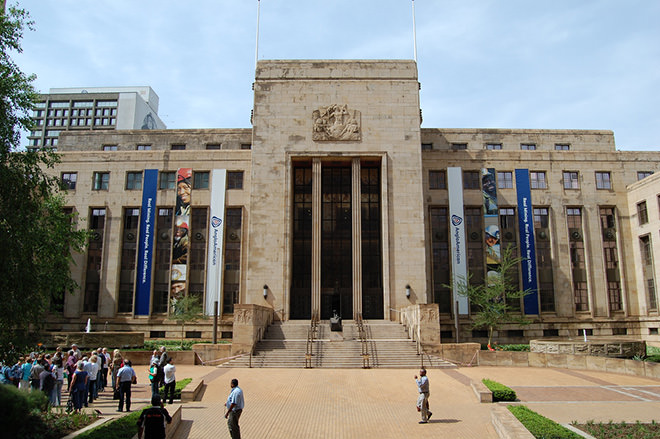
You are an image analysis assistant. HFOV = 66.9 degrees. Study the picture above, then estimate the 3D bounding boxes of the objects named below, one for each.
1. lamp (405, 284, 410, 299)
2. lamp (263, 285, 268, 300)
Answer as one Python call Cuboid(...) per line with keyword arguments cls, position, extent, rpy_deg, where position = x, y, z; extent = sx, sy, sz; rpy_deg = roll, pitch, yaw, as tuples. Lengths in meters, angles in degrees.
Cuboid(cls="lamp", position=(7.747, 7.003, 49.151), extent=(0.570, 1.376, 0.237), rpy_deg=(5, -12, -20))
Cuboid(cls="lamp", position=(-6.278, 7.022, 49.080), extent=(0.472, 1.436, 0.328), rpy_deg=(2, -11, -7))
